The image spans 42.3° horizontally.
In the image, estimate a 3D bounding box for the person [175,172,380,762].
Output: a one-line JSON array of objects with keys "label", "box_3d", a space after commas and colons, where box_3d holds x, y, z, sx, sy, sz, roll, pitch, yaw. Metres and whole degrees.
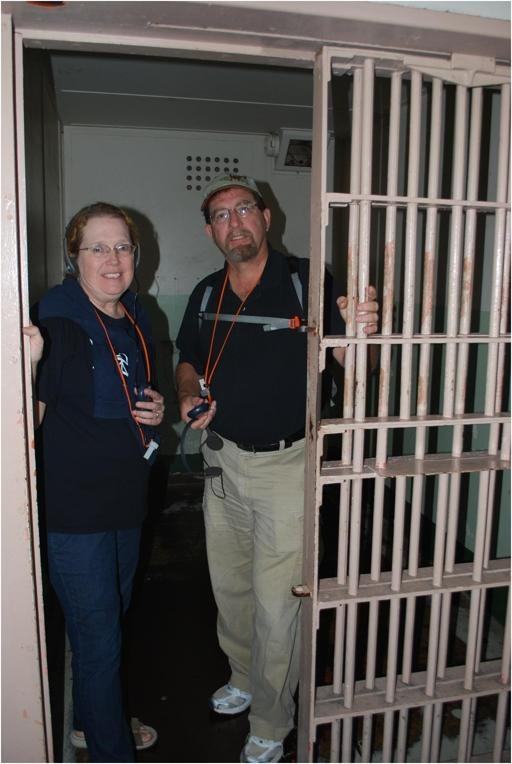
[{"label": "person", "box_3d": [-0.022, 0.248, 2.359, 0.455, 1.928, 0.778, -5, 12, -17]}]

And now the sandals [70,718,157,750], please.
[{"label": "sandals", "box_3d": [-0.481, 1.215, 2.268, 0.232, 0.098, 0.134, -4, -5, 10]}]

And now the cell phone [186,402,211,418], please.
[{"label": "cell phone", "box_3d": [-0.192, 0.108, 2.203, 0.071, 0.042, 0.034, -55, 19, -22]}]

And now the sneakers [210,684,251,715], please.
[{"label": "sneakers", "box_3d": [-0.096, 1.178, 2.436, 0.136, 0.056, 0.076, 14, -11, -28]}]

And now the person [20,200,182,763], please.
[{"label": "person", "box_3d": [-0.496, 0.369, 2.028, 0.310, 1.787, 0.581, 5, 13, 26]}]
